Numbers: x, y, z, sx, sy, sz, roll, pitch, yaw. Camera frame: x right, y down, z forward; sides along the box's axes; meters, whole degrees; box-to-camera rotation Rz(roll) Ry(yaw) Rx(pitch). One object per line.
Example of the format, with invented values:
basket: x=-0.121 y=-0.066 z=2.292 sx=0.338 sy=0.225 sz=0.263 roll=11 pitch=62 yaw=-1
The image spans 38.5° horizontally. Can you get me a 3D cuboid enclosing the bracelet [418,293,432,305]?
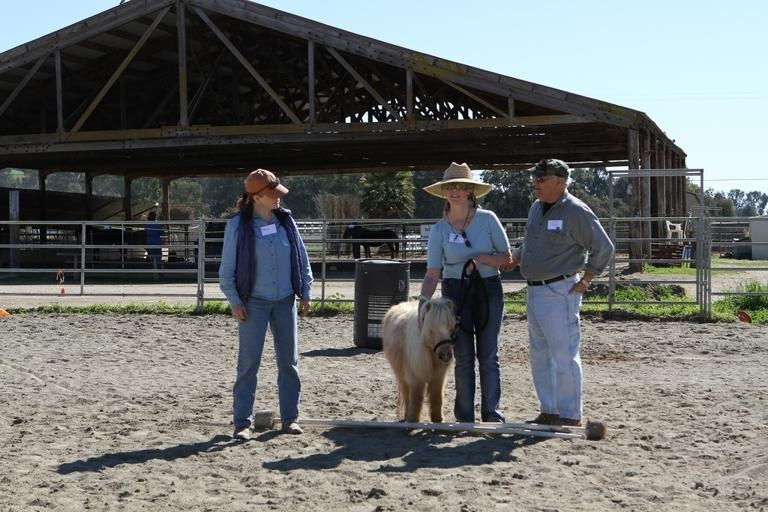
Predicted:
bracelet: x=0.702 y=0.692 z=18.646 sx=0.204 sy=0.136 sz=0.258 roll=-1 pitch=2 yaw=3

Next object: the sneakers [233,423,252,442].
sneakers: x=-2.422 y=2.945 z=18.645 sx=0.163 sy=0.192 sz=0.417 roll=3 pitch=-13 yaw=-17

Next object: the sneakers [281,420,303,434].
sneakers: x=-1.584 y=2.874 z=18.773 sx=0.155 sy=0.165 sz=0.392 roll=6 pitch=-13 yaw=-37

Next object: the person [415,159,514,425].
person: x=1.466 y=0.583 z=18.809 sx=1.458 sy=4.411 sz=0.650 roll=-1 pitch=-1 yaw=5

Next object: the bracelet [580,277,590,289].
bracelet: x=3.415 y=0.417 z=18.668 sx=0.184 sy=0.153 sz=0.286 roll=-1 pitch=0 yaw=8

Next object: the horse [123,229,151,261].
horse: x=-8.600 y=-0.361 z=37.890 sx=0.901 sy=0.578 sz=1.277 roll=26 pitch=-7 yaw=-11
